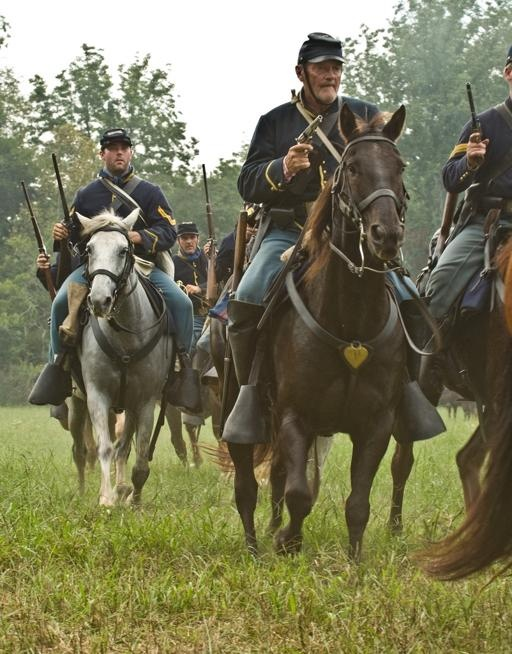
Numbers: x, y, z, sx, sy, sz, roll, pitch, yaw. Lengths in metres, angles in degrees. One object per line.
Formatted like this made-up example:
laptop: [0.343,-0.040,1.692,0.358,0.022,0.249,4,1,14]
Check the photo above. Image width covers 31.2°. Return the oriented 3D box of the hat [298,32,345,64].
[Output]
hat: [0.412,-1.784,5.814,0.294,0.203,0.284,0,5,3]

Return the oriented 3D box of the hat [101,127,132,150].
hat: [-1.462,-1.947,9.443,0.258,0.128,0.290,1,-18,-13]

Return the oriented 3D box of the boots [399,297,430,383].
boots: [1.010,0.075,5.765,0.189,0.523,0.132,-9,13,6]
